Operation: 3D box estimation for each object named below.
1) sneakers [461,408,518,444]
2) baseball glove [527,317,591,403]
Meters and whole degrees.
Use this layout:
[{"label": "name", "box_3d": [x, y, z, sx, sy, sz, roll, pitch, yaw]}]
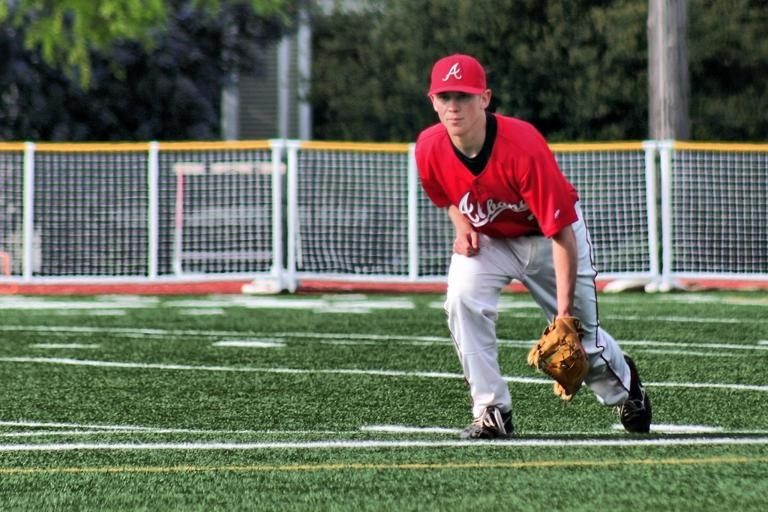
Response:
[{"label": "sneakers", "box_3d": [1.089, 1.609, 15.673, 0.223, 0.239, 0.555, 2, 6, 42]}, {"label": "baseball glove", "box_3d": [1.729, 1.002, 15.522, 0.589, 0.655, 0.267, -3, 1, 5]}]
